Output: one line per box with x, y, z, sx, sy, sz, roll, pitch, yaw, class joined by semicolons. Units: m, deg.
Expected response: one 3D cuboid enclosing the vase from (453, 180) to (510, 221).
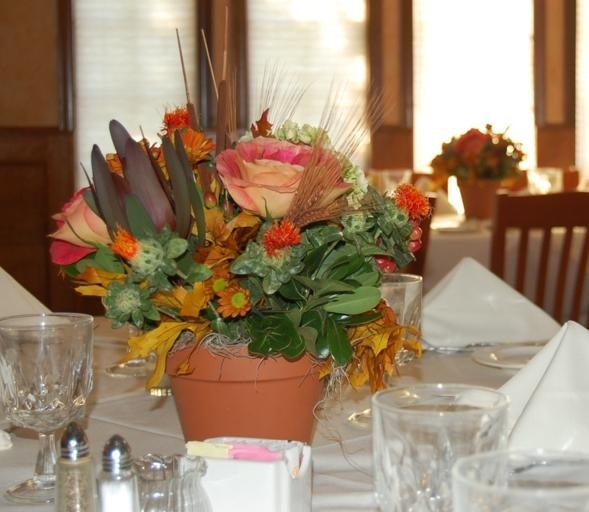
0.768;-0.239;2.668;0.210;0.194;0.216;1;6;12;vase

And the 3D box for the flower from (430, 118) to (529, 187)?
0.748;-0.421;2.675;0.373;0.169;0.184;-3;0;17;flower

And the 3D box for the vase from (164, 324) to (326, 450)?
-0.059;0.120;0.636;0.117;0.075;0.120;-1;-5;11;vase
